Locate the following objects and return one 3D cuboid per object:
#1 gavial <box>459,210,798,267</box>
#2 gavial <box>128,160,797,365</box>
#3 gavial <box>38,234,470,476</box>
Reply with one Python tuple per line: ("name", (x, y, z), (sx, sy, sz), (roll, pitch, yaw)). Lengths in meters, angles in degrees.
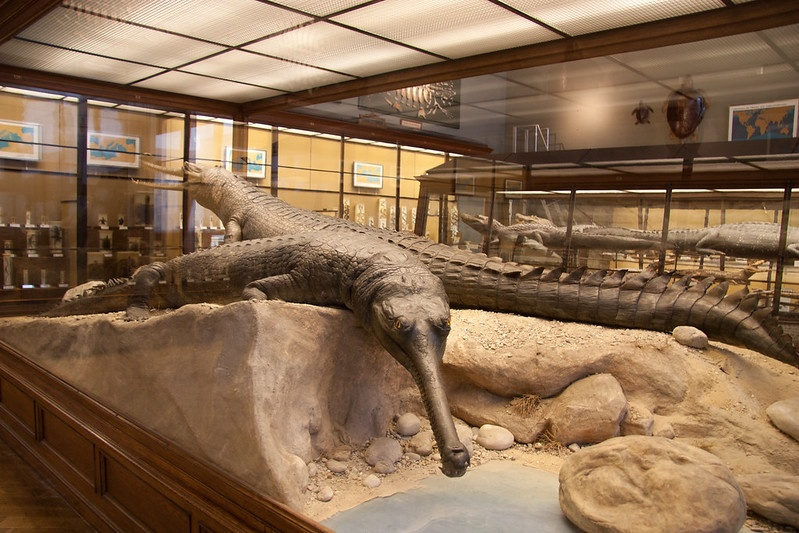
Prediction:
("gavial", (0.951, -0.166, 2.170), (1.127, 0.144, 0.294), (7, 5, 39))
("gavial", (0.278, -0.007, 2.583), (2.723, 0.325, 0.653), (13, 13, 12))
("gavial", (-0.527, 0.278, 2.865), (2.315, 0.948, 0.693), (5, 6, 32))
